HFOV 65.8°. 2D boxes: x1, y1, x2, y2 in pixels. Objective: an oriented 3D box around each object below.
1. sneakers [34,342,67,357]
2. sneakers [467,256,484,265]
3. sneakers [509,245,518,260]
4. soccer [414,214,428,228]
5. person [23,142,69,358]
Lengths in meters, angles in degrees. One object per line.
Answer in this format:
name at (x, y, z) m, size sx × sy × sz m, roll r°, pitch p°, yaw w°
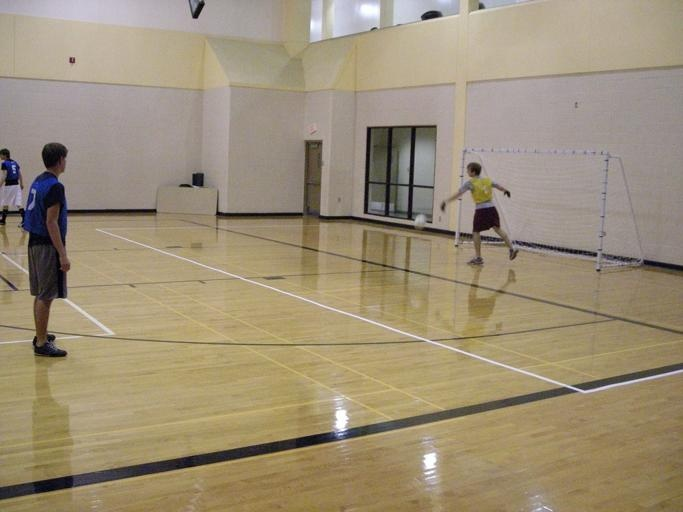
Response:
sneakers at (-2.241, 0.728, 4.085) m, size 0.275 × 0.120 × 0.102 m, roll 2°, pitch 2°, yaw -3°
sneakers at (2.246, 0.081, 8.837) m, size 0.312 × 0.145 × 0.115 m, roll 1°, pitch 6°, yaw 8°
sneakers at (2.997, -0.044, 9.207) m, size 0.106 × 0.142 × 0.313 m, roll -7°, pitch -31°, yaw -1°
soccer at (1.953, -0.849, 13.135) m, size 0.319 × 0.351 × 0.309 m, roll 3°, pitch 9°, yaw 8°
person at (-2.214, -0.022, 3.938) m, size 0.337 × 1.600 × 0.314 m, roll -1°, pitch 9°, yaw -17°
